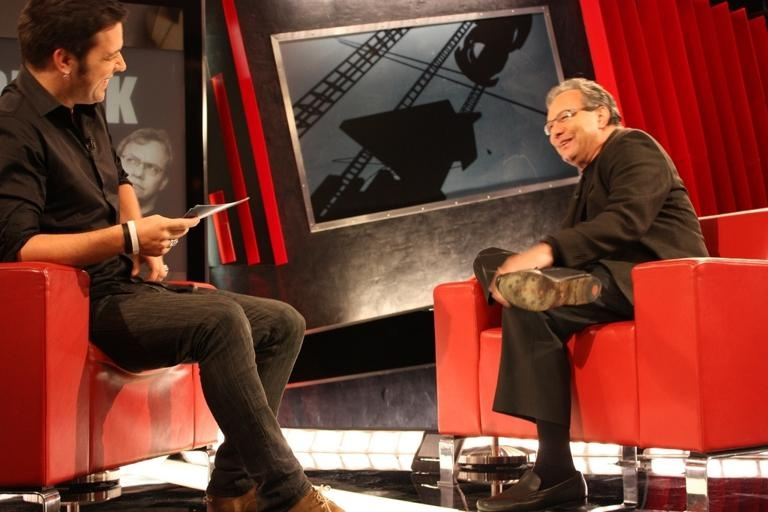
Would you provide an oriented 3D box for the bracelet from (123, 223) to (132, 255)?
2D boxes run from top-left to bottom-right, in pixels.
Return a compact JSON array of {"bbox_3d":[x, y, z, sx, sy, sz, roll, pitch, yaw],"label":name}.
[{"bbox_3d":[-0.772,-0.056,2.196,0.032,0.082,0.034,2,-10,-16],"label":"bracelet"}]

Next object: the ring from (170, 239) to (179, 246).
[{"bbox_3d":[-0.750,-0.049,2.606,0.022,0.029,0.012,12,-13,-16],"label":"ring"}]
